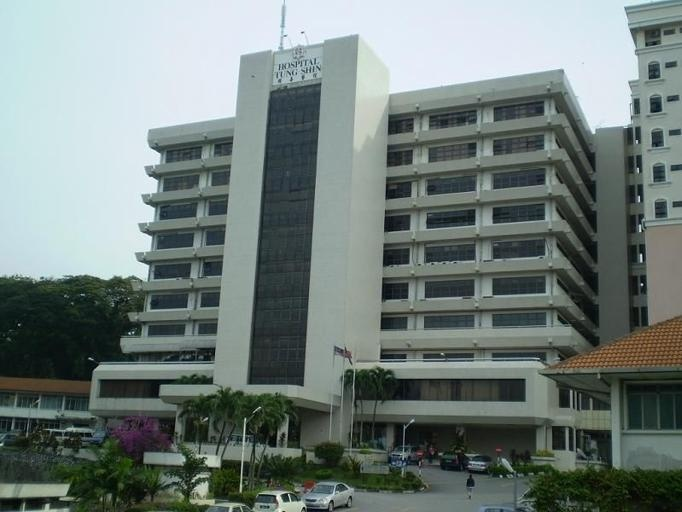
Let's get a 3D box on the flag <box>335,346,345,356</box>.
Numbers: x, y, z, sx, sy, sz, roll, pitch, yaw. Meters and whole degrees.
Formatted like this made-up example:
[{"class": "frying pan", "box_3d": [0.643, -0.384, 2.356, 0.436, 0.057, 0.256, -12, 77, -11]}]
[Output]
[{"class": "flag", "box_3d": [-0.266, 9.808, 68.268, 0.931, 0.875, 2.369, 0, -18, 7]}]
